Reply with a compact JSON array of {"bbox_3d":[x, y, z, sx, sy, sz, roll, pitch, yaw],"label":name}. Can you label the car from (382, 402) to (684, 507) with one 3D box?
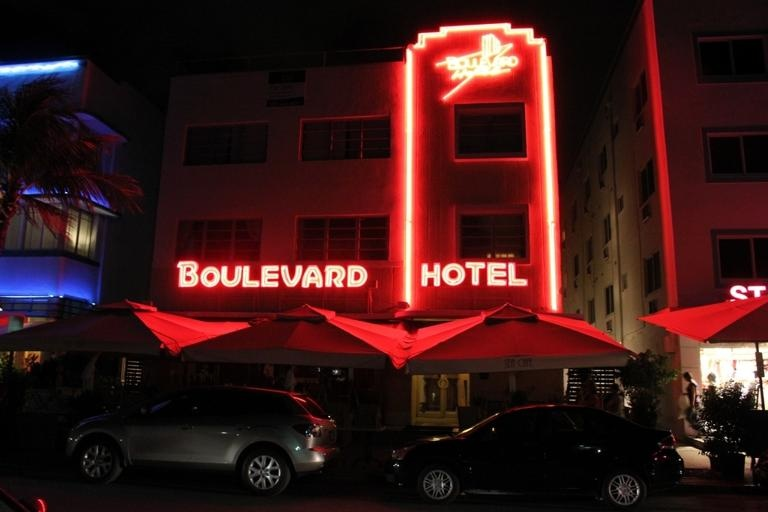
[{"bbox_3d":[3.846,4.851,18.095,6.447,2.322,2.772,1,-15,6],"label":"car"}]
